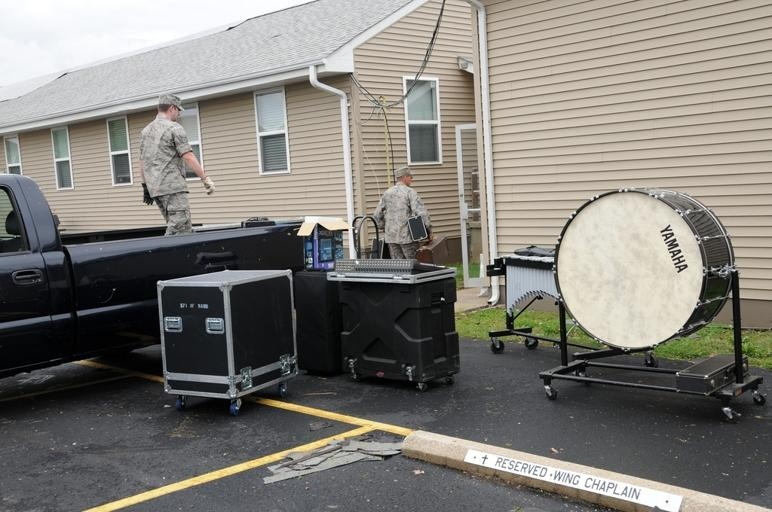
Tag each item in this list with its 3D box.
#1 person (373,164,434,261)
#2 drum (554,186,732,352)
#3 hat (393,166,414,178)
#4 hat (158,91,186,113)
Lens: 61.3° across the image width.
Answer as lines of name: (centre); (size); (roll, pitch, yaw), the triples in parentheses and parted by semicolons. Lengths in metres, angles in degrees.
person: (0.266, -0.718, 11.296); (0.540, 1.582, 1.063); (-14, 16, -39)
drum: (2.520, 0.140, 6.503); (1.614, 1.608, 0.662); (3, 14, 26)
hat: (0.278, -1.463, 11.495); (0.299, 0.202, 0.388); (-7, 11, -12)
hat: (-2.916, -2.101, 8.964); (0.334, 0.240, 0.465); (7, 8, 35)
